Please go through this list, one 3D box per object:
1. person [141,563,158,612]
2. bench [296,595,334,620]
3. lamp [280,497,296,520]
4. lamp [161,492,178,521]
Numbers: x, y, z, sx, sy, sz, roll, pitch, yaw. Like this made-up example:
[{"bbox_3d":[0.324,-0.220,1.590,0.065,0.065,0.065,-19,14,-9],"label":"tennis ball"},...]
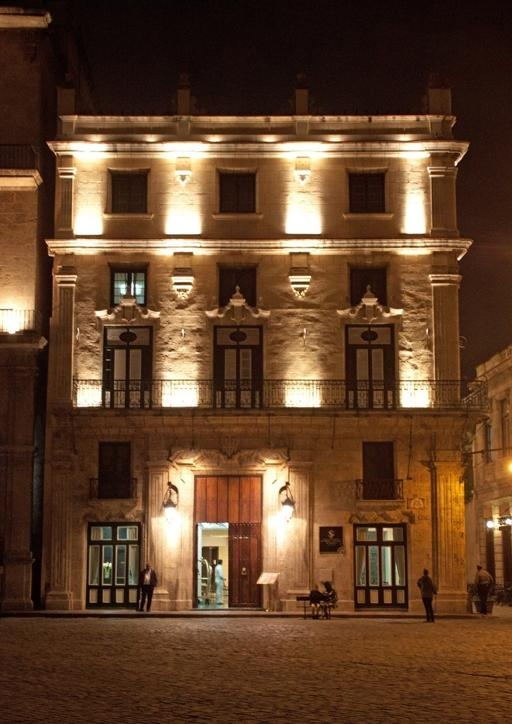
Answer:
[{"bbox_3d":[-2.825,5.973,31.982,0.441,1.235,1.257,1,-10,-5],"label":"person"},{"bbox_3d":[1.520,6.189,30.429,0.926,0.659,0.620,0,-6,6],"label":"bench"},{"bbox_3d":[0.881,4.023,32.902,0.533,0.573,0.504,7,-48,-6],"label":"lamp"},{"bbox_3d":[-2.317,3.954,32.990,0.378,0.775,0.420,2,-10,-7],"label":"lamp"}]
